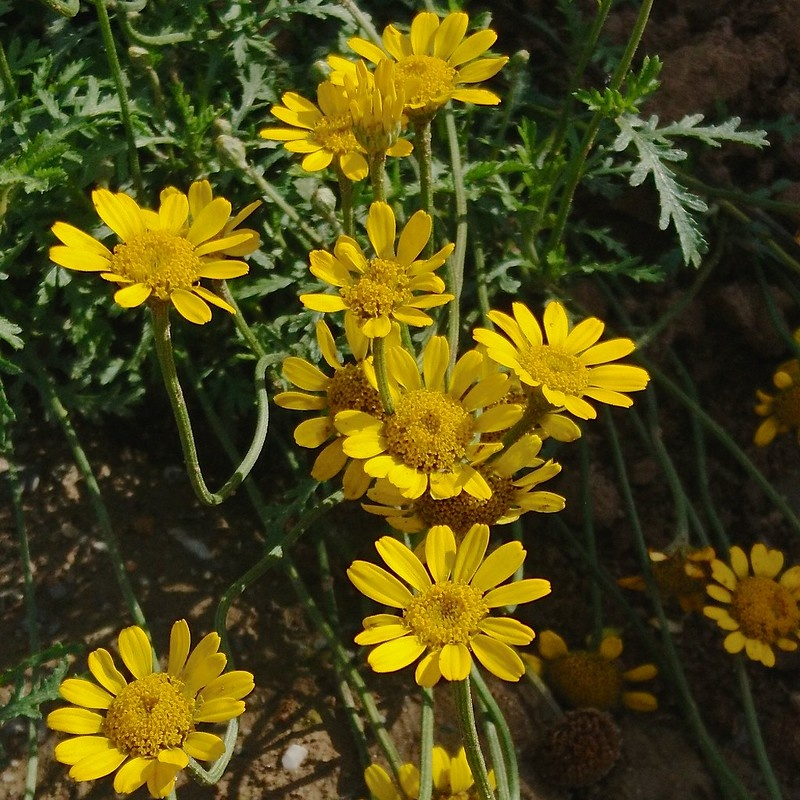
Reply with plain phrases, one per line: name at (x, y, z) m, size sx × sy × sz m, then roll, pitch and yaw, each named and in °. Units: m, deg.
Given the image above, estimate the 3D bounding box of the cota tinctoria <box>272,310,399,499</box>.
cota tinctoria at (-0.188, -0.002, 2.099) m, size 0.189 × 0.433 × 0.427 m, roll -24°, pitch 99°, yaw 0°

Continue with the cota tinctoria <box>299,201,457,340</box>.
cota tinctoria at (-0.018, -0.258, 1.854) m, size 0.274 × 0.253 × 0.337 m, roll 1°, pitch 115°, yaw 6°

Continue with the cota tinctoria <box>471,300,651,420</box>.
cota tinctoria at (0.342, -0.089, 1.881) m, size 0.440 × 0.248 × 0.308 m, roll 2°, pitch 104°, yaw 13°
